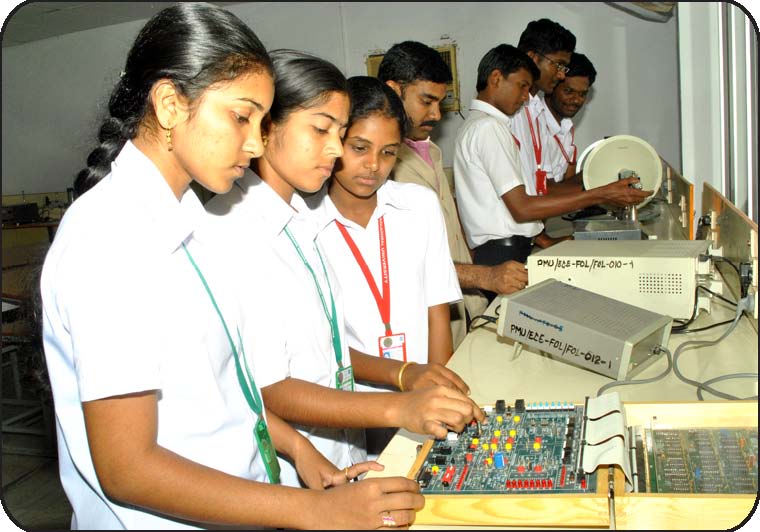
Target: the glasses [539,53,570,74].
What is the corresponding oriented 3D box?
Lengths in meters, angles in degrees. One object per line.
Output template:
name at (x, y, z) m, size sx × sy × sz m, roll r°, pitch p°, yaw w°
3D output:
glasses at (1.356, -1.580, 4.225) m, size 0.165 × 0.063 × 0.169 m, roll -10°, pitch 25°, yaw -38°
